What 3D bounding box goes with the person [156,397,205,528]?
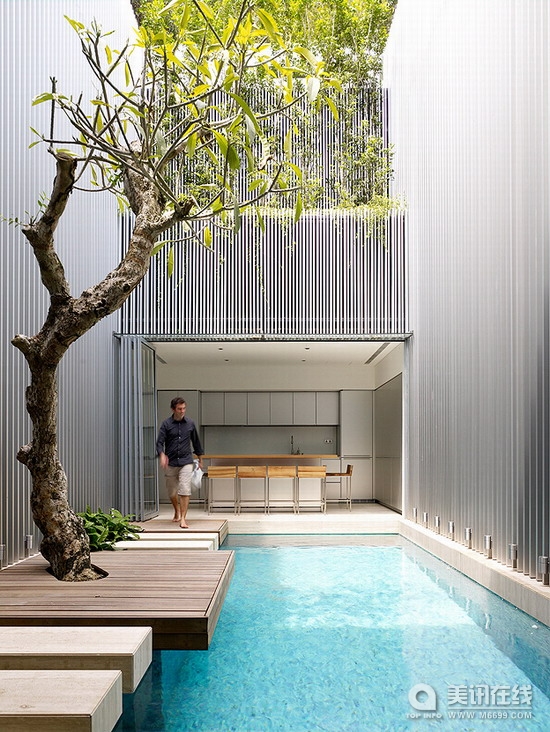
[{"bbox_3d":[-1.088,1.067,8.714,0.467,1.411,1.027,-2,-5,1],"label":"person"}]
